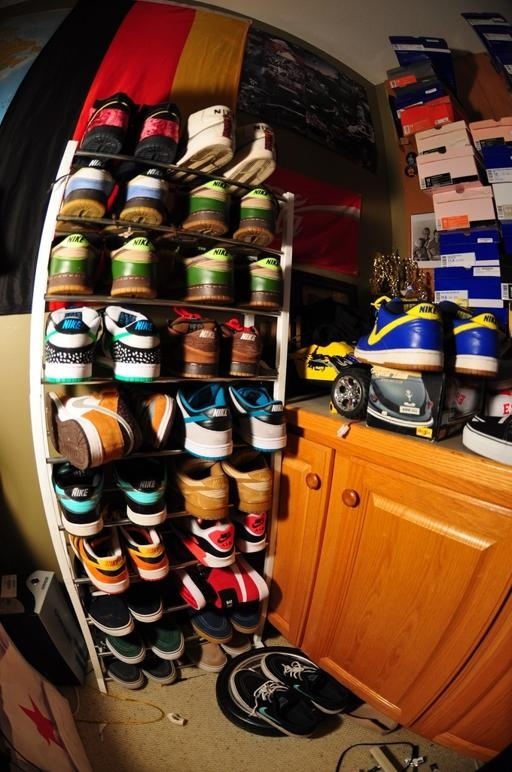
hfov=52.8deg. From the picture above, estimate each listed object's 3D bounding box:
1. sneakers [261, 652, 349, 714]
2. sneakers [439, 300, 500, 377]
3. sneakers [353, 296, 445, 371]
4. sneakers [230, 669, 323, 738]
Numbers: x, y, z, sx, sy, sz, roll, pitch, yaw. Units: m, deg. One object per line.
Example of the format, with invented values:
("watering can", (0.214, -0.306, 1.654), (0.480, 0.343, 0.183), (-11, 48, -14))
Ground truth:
("sneakers", (0.122, 0.747, 1.315), (0.086, 0.065, 0.203), (-14, 24, -42))
("sneakers", (0.469, -0.119, 1.207), (0.117, 0.146, 0.349), (-2, 9, -2))
("sneakers", (0.322, -0.122, 1.204), (0.131, 0.152, 0.371), (1, 5, -10))
("sneakers", (0.039, 0.778, 1.269), (0.216, 0.065, 0.114), (13, 3, 41))
